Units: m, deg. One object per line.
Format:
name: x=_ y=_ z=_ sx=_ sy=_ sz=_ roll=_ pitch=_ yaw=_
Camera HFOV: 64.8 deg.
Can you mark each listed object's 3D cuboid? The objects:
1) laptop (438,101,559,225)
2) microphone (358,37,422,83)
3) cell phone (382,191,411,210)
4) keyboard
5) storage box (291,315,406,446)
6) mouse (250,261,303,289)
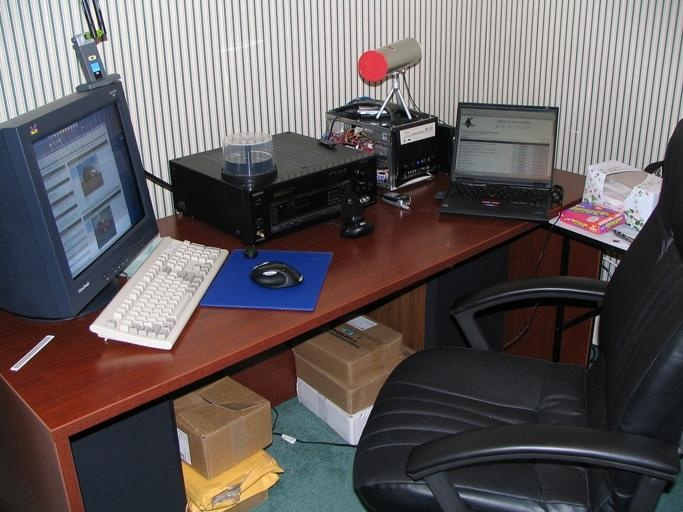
laptop: x=0.630 y=-0.379 z=2.161 sx=0.515 sy=0.379 sz=0.501 roll=10 pitch=33 yaw=17
microphone: x=0.208 y=-0.824 z=2.269 sx=0.286 sy=0.133 sz=0.109 roll=-27 pitch=40 yaw=-37
cell phone: x=0.217 y=-0.228 z=2.106 sx=0.100 sy=0.032 sz=0.060 roll=28 pitch=40 yaw=27
keyboard: x=-0.504 y=0.090 z=1.562 sx=0.228 sy=0.052 sz=0.454 roll=9 pitch=33 yaw=1
storage box: x=0.061 y=0.499 z=2.491 sx=0.490 sy=0.481 sz=0.465 roll=-24 pitch=33 yaw=-37
mouse: x=-0.191 y=0.058 z=1.591 sx=0.112 sy=0.040 sz=0.083 roll=6 pitch=20 yaw=-6
